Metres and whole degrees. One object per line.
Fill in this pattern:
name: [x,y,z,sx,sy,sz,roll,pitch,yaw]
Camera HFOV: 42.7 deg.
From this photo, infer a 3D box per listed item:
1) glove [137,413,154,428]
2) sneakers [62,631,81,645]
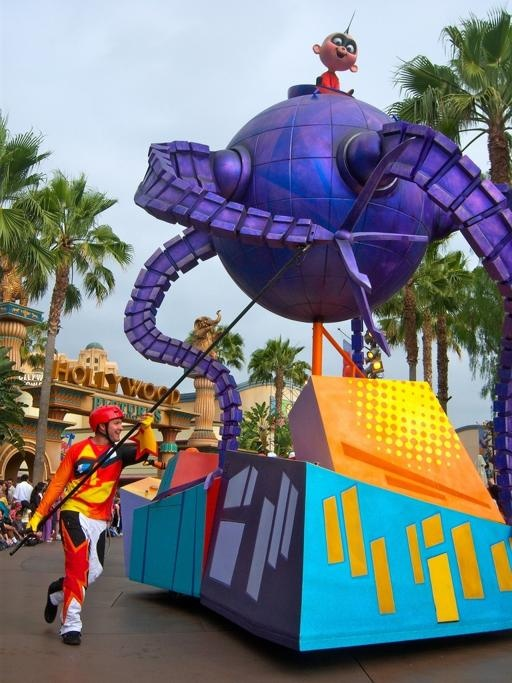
glove: [-0.774,0.533,4.531,0.095,0.037,0.100,-15,-40,-25]
sneakers: [-1.128,1.789,3.946,0.120,0.073,0.161,8,-19,-14]
